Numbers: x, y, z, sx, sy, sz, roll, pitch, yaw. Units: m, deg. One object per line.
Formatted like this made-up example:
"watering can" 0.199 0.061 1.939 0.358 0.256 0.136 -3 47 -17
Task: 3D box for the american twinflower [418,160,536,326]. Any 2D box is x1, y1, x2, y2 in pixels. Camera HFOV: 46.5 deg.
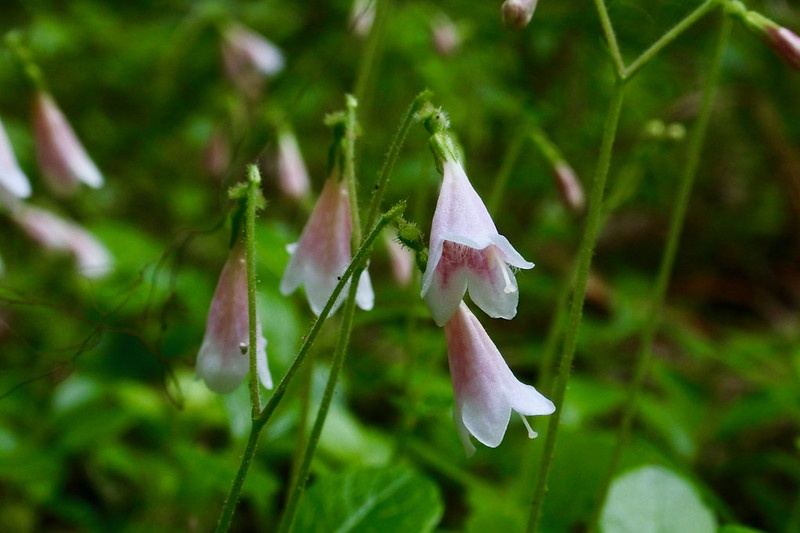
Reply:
"american twinflower" 0.193 -0.095 2.952 0.353 0.363 0.617 -2 15 -8

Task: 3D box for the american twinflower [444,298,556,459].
"american twinflower" 0.292 0.343 2.908 0.272 0.494 0.232 -23 0 7

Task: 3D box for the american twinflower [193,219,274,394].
"american twinflower" -0.540 0.159 2.847 0.224 0.447 0.189 -13 21 -10

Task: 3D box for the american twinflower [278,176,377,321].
"american twinflower" -0.271 -0.065 2.995 0.266 0.408 0.183 -10 21 -3
